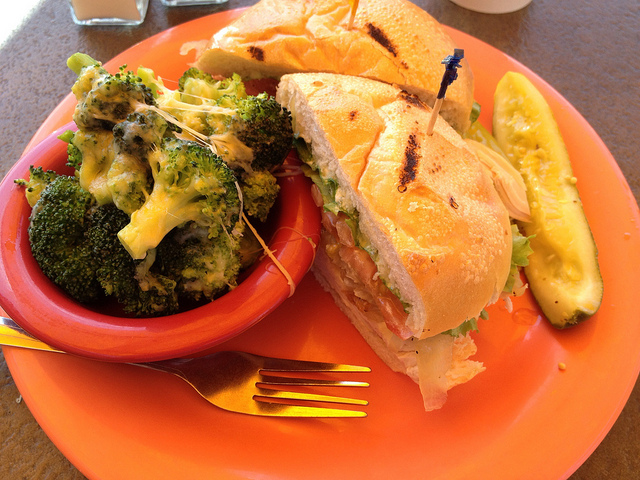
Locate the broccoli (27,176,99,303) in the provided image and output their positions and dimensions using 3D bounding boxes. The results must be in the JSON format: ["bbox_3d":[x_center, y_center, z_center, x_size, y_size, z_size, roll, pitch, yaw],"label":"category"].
[{"bbox_3d":[-1.039,-0.014,2.550,0.250,0.427,0.420,-9,112,-19],"label":"broccoli"}]

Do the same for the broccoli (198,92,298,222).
[{"bbox_3d":[-0.325,-0.350,2.585,0.330,0.328,0.462,26,61,-17],"label":"broccoli"}]

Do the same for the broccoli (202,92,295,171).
[{"bbox_3d":[-0.281,-0.492,2.664,0.342,0.326,0.379,-15,26,-33],"label":"broccoli"}]

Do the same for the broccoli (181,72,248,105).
[{"bbox_3d":[-0.488,-0.700,2.757,0.203,0.149,0.239,18,30,33],"label":"broccoli"}]

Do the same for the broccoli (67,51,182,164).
[{"bbox_3d":[-0.864,-0.534,2.599,0.332,0.185,0.499,-40,77,-20],"label":"broccoli"}]

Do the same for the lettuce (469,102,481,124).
[{"bbox_3d":[0.823,-0.676,3.168,0.024,0.092,0.088,10,80,24],"label":"lettuce"}]

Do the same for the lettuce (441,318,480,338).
[{"bbox_3d":[0.631,0.391,2.660,0.033,0.108,0.112,36,70,-19],"label":"lettuce"}]

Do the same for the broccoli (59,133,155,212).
[{"bbox_3d":[-0.873,-0.270,2.436,0.379,0.101,0.349,-8,82,17],"label":"broccoli"}]

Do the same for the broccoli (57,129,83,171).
[{"bbox_3d":[-1.057,-0.395,2.578,0.052,0.112,0.053,-7,34,3],"label":"broccoli"}]

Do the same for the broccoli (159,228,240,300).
[{"bbox_3d":[-0.494,0.100,2.488,0.279,0.088,0.304,-10,87,-8],"label":"broccoli"}]

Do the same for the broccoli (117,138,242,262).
[{"bbox_3d":[-0.541,-0.131,2.460,0.398,0.232,0.514,12,78,4],"label":"broccoli"}]
